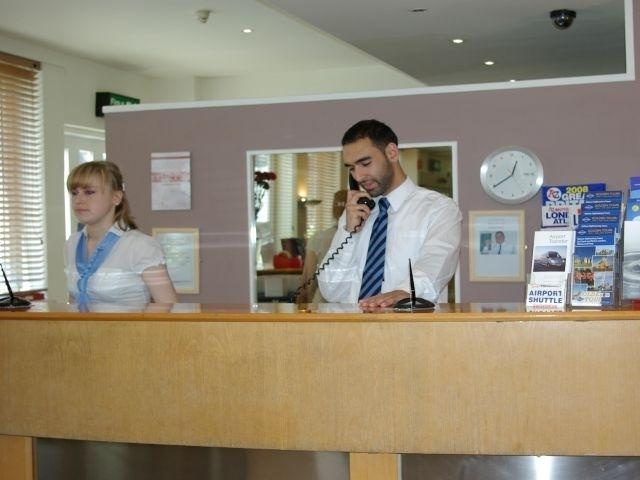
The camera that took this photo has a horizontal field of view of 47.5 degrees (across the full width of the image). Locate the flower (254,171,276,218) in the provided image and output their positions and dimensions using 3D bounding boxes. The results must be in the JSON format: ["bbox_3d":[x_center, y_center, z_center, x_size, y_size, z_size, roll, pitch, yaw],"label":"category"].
[{"bbox_3d":[-0.351,-0.287,4.646,0.172,0.288,0.104,3,11,15],"label":"flower"}]

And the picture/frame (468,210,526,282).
[{"bbox_3d":[1.052,0.051,4.313,0.400,0.531,0.026,0,-6,8],"label":"picture/frame"}]

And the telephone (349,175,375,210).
[{"bbox_3d":[0.176,-0.155,3.126,0.070,0.219,0.082,-8,15,20],"label":"telephone"}]

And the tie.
[{"bbox_3d":[0.221,0.033,2.997,0.102,0.378,0.268,1,11,9],"label":"tie"}]

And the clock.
[{"bbox_3d":[1.137,-0.378,4.304,0.368,0.389,0.054,-2,-2,11],"label":"clock"}]

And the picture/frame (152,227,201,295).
[{"bbox_3d":[-0.957,0.126,4.831,0.296,0.424,0.023,1,14,32],"label":"picture/frame"}]
